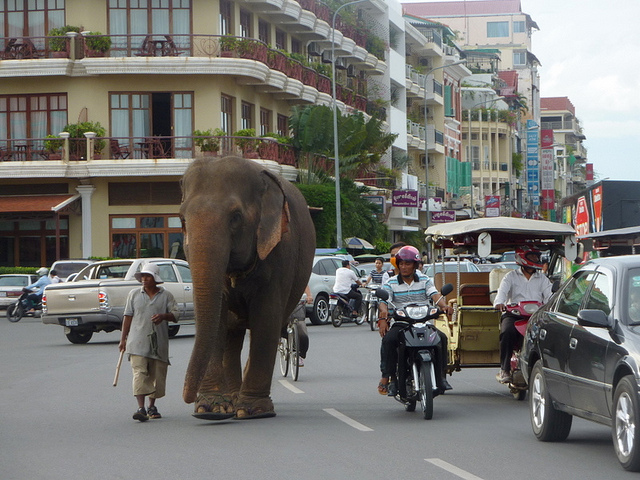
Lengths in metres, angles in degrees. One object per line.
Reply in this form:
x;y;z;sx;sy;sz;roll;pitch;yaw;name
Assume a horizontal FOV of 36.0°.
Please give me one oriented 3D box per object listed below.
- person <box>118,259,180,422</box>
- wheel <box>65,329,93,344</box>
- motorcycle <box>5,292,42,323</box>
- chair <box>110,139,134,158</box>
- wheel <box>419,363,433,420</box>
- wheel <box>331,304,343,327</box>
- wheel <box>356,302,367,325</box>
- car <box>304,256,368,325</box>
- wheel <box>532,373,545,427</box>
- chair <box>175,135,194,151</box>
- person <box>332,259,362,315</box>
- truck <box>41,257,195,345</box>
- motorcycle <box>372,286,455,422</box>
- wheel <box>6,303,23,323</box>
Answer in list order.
-2.319;1.406;13.506;0.780;2.122;0.570;-1;1;-17;person
-5.956;2.394;24.519;0.658;0.383;0.458;-1;0;-32;wheel
-9.967;2.247;32.845;0.783;0.913;1.379;-1;-6;36;motorcycle
-7.955;-3.697;39.569;0.764;0.796;0.618;0;4;-5;chair
1.412;2.028;13.163;0.164;0.778;0.382;-1;1;5;wheel
0.511;2.197;28.760;0.177;0.635;0.610;4;6;28;wheel
1.279;2.249;29.758;0.506;0.598;0.549;2;-13;0;wheel
0.340;1.450;29.912;1.321;1.241;2.425;0;2;34;car
2.687;2.005;12.108;0.109;0.454;0.455;-3;-7;6;wheel
-5.443;-3.946;39.916;0.561;0.370;0.583;-3;-5;10;chair
0.878;1.510;28.662;0.488;1.401;0.893;0;1;41;person
-5.324;1.431;23.854;2.495;1.787;4.778;-1;0;25;truck
1.279;1.539;13.524;1.004;1.810;1.120;-1;1;0;motorcycle
-10.051;2.419;32.539;0.506;0.596;0.426;-1;1;-15;wheel
